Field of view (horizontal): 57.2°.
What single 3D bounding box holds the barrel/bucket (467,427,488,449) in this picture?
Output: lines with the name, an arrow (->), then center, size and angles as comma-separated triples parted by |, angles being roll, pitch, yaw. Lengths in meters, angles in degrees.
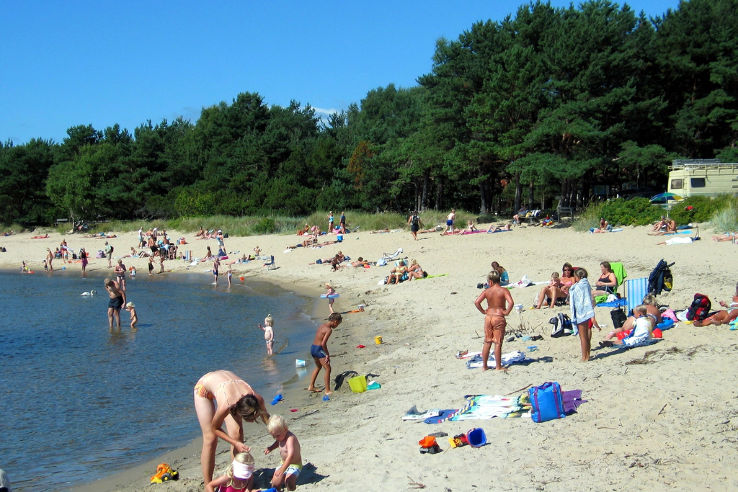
barrel/bucket -> 2.669, 4.784, 16.858 | 0.360, 0.482, 0.426 | -1, -17, 3

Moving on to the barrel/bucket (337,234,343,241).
barrel/bucket -> -2.074, -0.573, 45.913 | 0.394, 0.465, 0.434 | -1, -3, 20

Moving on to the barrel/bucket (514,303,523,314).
barrel/bucket -> 5.126, 2.150, 23.085 | 0.157, 0.452, 0.349 | 8, -11, -25

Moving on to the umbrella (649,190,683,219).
umbrella -> 17.598, -2.452, 40.090 | 1.619, 1.723, 1.689 | -6, 13, -14

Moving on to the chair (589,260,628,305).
chair -> 8.907, 1.284, 23.964 | 1.215, 1.342, 1.664 | 10, 3, -22

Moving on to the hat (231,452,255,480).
hat -> -2.943, 5.090, 15.867 | 0.462, 0.537, 0.579 | 7, 8, -8

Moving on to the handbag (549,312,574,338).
handbag -> 6.151, 2.500, 21.797 | 0.627, 0.768, 0.729 | -3, 13, 3

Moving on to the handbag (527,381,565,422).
handbag -> 4.583, 4.023, 17.465 | 0.878, 0.890, 0.499 | -2, 9, 2

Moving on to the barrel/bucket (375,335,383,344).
barrel/bucket -> 0.342, 3.324, 23.941 | 0.225, 0.237, 0.221 | 0, 1, 0

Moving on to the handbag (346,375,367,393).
handbag -> -0.377, 4.157, 20.425 | 0.527, 0.458, 0.456 | 2, 36, -17

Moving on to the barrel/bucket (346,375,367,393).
barrel/bucket -> -0.373, 4.188, 20.433 | 0.532, 0.455, 0.458 | 3, 39, -21

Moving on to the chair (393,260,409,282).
chair -> 1.534, 1.202, 32.567 | 0.627, 0.947, 0.358 | 3, -13, 21

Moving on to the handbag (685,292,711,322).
handbag -> 10.150, 1.915, 20.931 | 0.489, 0.720, 0.383 | 26, 1, -9

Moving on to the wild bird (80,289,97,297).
wild bird -> -15.550, 2.638, 37.592 | 0.471, 0.277, 0.626 | 5, 3, 11
